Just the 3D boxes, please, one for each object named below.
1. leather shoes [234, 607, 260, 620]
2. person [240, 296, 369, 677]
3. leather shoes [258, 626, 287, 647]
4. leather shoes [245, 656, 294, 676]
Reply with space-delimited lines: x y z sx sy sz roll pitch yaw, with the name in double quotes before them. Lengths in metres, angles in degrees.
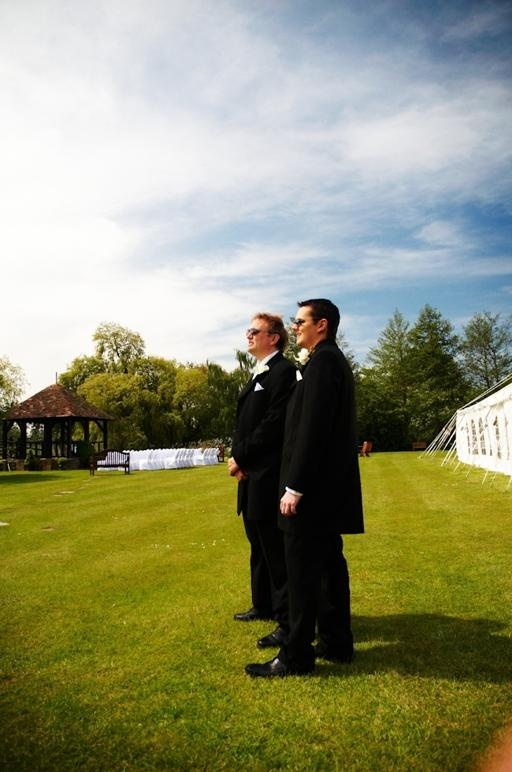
"leather shoes" -0.067 1.737 4.169 0.162 0.062 0.080 5 -16 -3
"person" 0.337 0.576 3.296 0.586 2.258 0.596 -4 -3 25
"leather shoes" 0.163 1.677 3.671 0.104 0.123 0.322 -15 -23 42
"leather shoes" 0.077 1.623 3.188 0.306 0.117 0.101 3 -23 1
